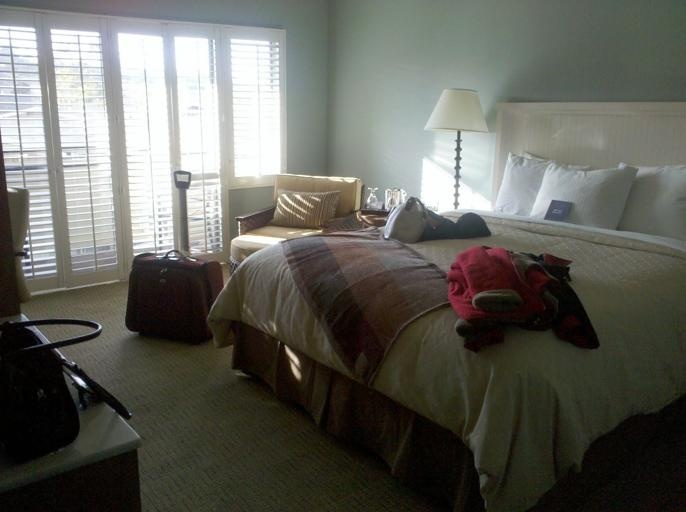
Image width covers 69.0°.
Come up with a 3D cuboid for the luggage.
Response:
[{"bbox_3d":[-1.136,0.257,3.427,0.618,0.593,0.341,6,13,13],"label":"luggage"}]

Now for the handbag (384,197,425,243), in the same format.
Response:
[{"bbox_3d":[0.320,-0.216,2.932,0.179,0.302,0.298,11,5,8],"label":"handbag"}]

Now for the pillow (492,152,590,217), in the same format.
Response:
[{"bbox_3d":[1.410,-0.547,3.753,0.161,0.511,0.539,17,2,-40],"label":"pillow"}]
